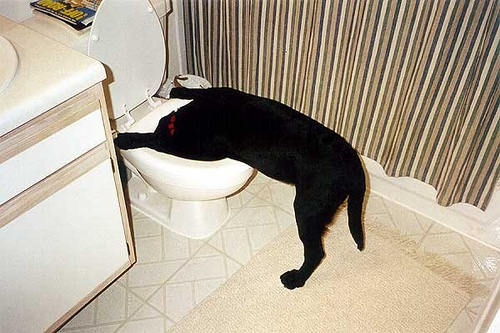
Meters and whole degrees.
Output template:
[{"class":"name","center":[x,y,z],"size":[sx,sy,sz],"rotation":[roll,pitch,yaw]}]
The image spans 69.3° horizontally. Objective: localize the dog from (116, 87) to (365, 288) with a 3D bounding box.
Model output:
[{"class":"dog","center":[0.036,-0.086,1.859],"size":[1.313,0.792,0.576],"rotation":[28,24,0]}]

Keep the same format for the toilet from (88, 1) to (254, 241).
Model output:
[{"class":"toilet","center":[-0.339,-0.197,1.582],"size":[0.708,0.869,0.461],"rotation":[30,51,11]}]

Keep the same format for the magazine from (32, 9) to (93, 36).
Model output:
[{"class":"magazine","center":[-0.730,-0.574,1.412],"size":[0.278,0.033,0.069],"rotation":[23,48,18]}]

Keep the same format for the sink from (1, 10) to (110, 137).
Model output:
[{"class":"sink","center":[-0.712,-0.328,1.171],"size":[0.338,0.126,0.427],"rotation":[-33,55,-31]}]
